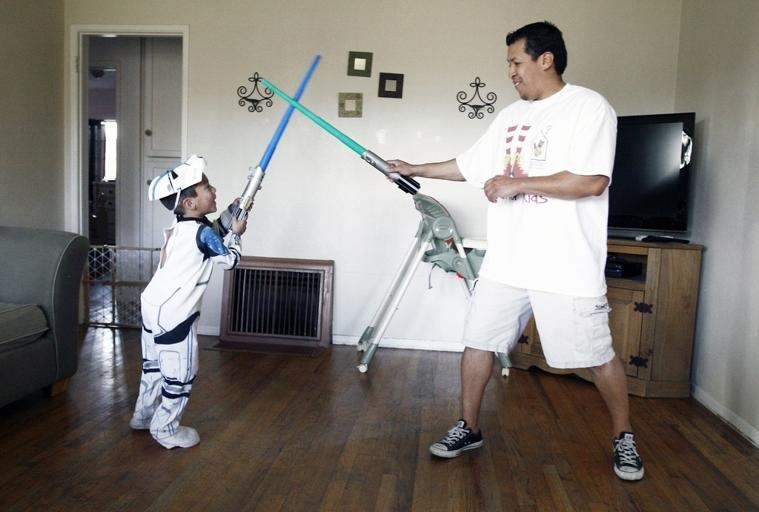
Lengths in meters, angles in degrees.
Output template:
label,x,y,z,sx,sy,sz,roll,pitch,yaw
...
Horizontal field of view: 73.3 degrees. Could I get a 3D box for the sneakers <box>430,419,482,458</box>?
label,x,y,z,sx,sy,sz,roll,pitch,yaw
sneakers,0.398,0.933,2.659,0.342,0.159,0.113,3,-3,-39

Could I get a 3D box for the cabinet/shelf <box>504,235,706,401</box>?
label,x,y,z,sx,sy,sz,roll,pitch,yaw
cabinet/shelf,1.904,0.395,3.810,0.448,1.043,1.133,1,3,-4

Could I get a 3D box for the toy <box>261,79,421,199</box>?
label,x,y,z,sx,sy,sz,roll,pitch,yaw
toy,-0.244,-0.907,3.799,1.403,0.196,0.191,37,51,1

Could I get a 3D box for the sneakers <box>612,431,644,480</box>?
label,x,y,z,sx,sy,sz,roll,pitch,yaw
sneakers,1.192,0.964,2.439,0.097,0.108,0.271,-3,-4,9

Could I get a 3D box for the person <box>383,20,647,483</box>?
label,x,y,z,sx,sy,sz,roll,pitch,yaw
person,0.805,-0.050,2.515,1.031,2.093,0.530,4,13,10

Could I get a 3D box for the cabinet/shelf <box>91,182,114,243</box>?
label,x,y,z,sx,sy,sz,roll,pitch,yaw
cabinet/shelf,-3.418,-0.528,6.289,0.301,0.734,0.577,-5,15,-29

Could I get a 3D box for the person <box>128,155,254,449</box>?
label,x,y,z,sx,sy,sz,roll,pitch,yaw
person,-0.972,0.211,2.593,0.396,1.406,0.544,14,17,42

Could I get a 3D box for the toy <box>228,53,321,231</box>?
label,x,y,z,sx,sy,sz,roll,pitch,yaw
toy,-0.788,-0.928,3.835,0.117,1.575,0.174,28,-10,-4
